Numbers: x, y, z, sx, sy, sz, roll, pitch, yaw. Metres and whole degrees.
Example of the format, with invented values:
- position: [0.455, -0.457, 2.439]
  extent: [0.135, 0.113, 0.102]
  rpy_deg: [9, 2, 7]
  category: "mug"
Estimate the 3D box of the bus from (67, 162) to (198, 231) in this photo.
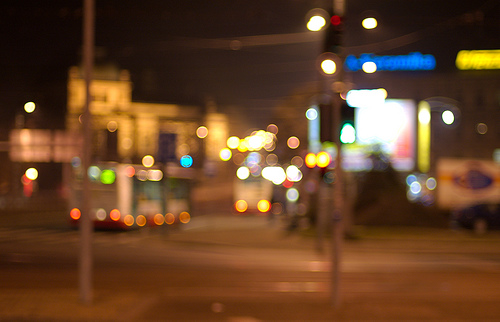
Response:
- position: [-4.086, 1.239, 26.314]
  extent: [2.091, 1.742, 6.317]
  rpy_deg: [-1, 0, 21]
  category: "bus"

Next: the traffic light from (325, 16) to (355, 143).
- position: [2.265, -2.087, 18.246]
  extent: [0.747, 2.997, 0.847]
  rpy_deg: [5, 4, 23]
  category: "traffic light"
